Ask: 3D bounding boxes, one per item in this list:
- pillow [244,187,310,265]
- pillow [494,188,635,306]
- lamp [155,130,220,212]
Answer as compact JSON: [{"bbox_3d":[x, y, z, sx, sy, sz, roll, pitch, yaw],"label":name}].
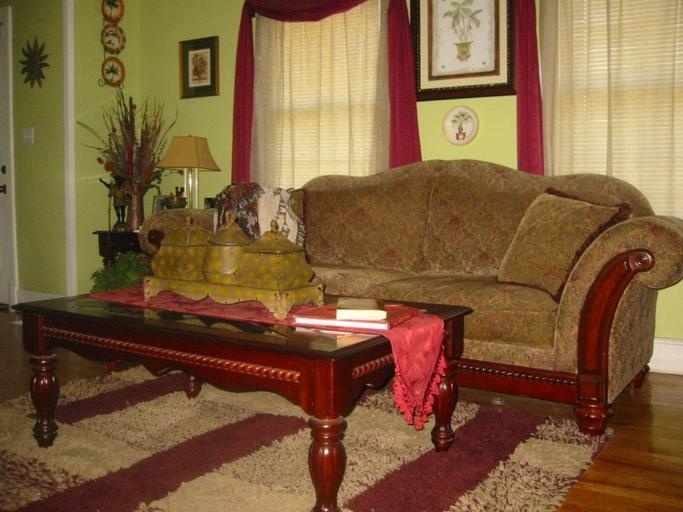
[{"bbox_3d":[-0.391,-0.286,4.122,0.412,0.532,0.163,2,-25,-14],"label":"pillow"},{"bbox_3d":[1.223,-0.061,3.241,0.168,0.584,0.605,29,-2,-23],"label":"pillow"},{"bbox_3d":[-1.303,-0.702,5.266,0.560,0.660,0.564,-2,7,-30],"label":"lamp"}]
